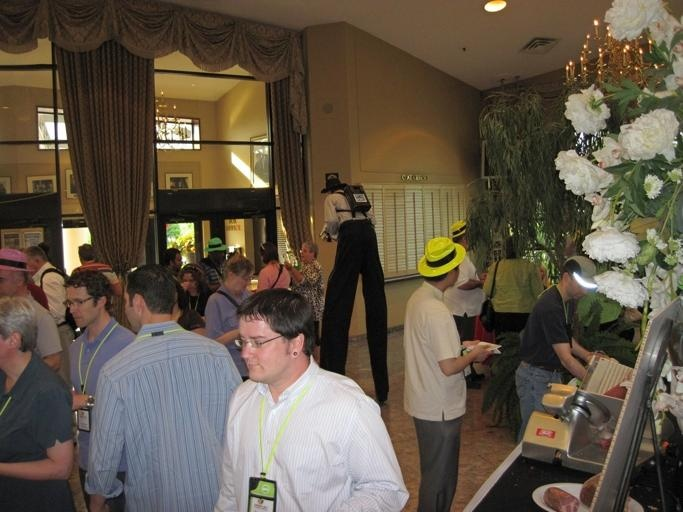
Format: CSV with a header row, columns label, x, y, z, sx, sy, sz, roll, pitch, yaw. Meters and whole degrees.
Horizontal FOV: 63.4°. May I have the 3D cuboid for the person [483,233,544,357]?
label,x,y,z,sx,sy,sz,roll,pitch,yaw
person,1.801,0.501,6.012,0.545,1.552,0.458,2,29,14

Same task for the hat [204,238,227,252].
label,x,y,z,sx,sy,sz,roll,pitch,yaw
hat,-1.727,-0.135,7.551,0.267,0.152,0.279,-2,9,4

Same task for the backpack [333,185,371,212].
label,x,y,z,sx,sy,sz,roll,pitch,yaw
backpack,0.153,-0.619,6.097,0.232,0.316,0.354,2,7,41

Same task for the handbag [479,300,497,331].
label,x,y,z,sx,sy,sz,roll,pitch,yaw
handbag,1.579,0.639,5.981,0.130,0.256,0.334,-9,27,8

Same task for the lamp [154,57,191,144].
label,x,y,z,sx,sy,sz,roll,pitch,yaw
lamp,-2.750,-2.589,9.466,0.854,1.579,0.378,-4,5,-20

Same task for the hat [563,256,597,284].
label,x,y,z,sx,sy,sz,roll,pitch,yaw
hat,1.116,0.068,2.607,0.094,0.070,0.135,-21,55,-42

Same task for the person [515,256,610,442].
label,x,y,z,sx,sy,sz,roll,pitch,yaw
person,1.301,0.576,3.292,0.542,1.535,0.565,5,52,21

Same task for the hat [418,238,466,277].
label,x,y,z,sx,sy,sz,roll,pitch,yaw
hat,0.668,0.051,3.696,0.276,0.110,0.248,-38,45,-4

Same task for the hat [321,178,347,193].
label,x,y,z,sx,sy,sz,roll,pitch,yaw
hat,-0.112,-0.818,6.196,0.199,0.098,0.236,-20,-3,-36
